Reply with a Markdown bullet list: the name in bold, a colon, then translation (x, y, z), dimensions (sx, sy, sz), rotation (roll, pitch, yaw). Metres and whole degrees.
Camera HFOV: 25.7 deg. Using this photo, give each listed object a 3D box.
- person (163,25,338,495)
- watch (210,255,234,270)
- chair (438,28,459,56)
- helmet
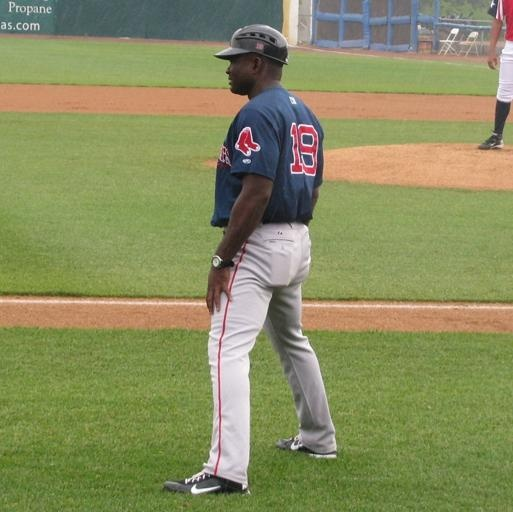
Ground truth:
- **person**: translation (-0.002, -0.001, 5.495), dimensions (0.833, 2.193, 0.552), rotation (-3, 13, -35)
- **watch**: translation (-0.175, 0.025, 5.403), dimensions (0.085, 0.067, 0.091), rotation (2, 8, -35)
- **chair**: translation (6.631, -7.444, 38.988), dimensions (0.464, 0.888, 1.238), rotation (9, 13, 23)
- **helmet**: translation (-0.010, -1.058, 5.547), dimensions (0.255, 0.154, 0.190), rotation (1, 14, 1)
